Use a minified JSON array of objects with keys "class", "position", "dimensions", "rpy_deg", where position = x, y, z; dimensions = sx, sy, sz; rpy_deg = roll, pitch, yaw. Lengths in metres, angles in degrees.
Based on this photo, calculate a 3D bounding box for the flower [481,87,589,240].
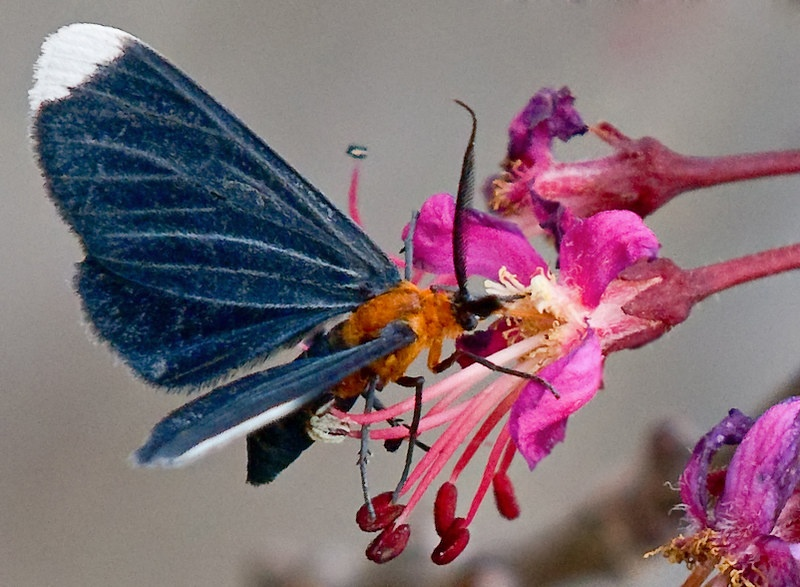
[{"class":"flower","position":[0.282,-0.284,3.079],"dimensions":[0.076,0.314,0.179],"rpy_deg":[16,-8,-43]}]
